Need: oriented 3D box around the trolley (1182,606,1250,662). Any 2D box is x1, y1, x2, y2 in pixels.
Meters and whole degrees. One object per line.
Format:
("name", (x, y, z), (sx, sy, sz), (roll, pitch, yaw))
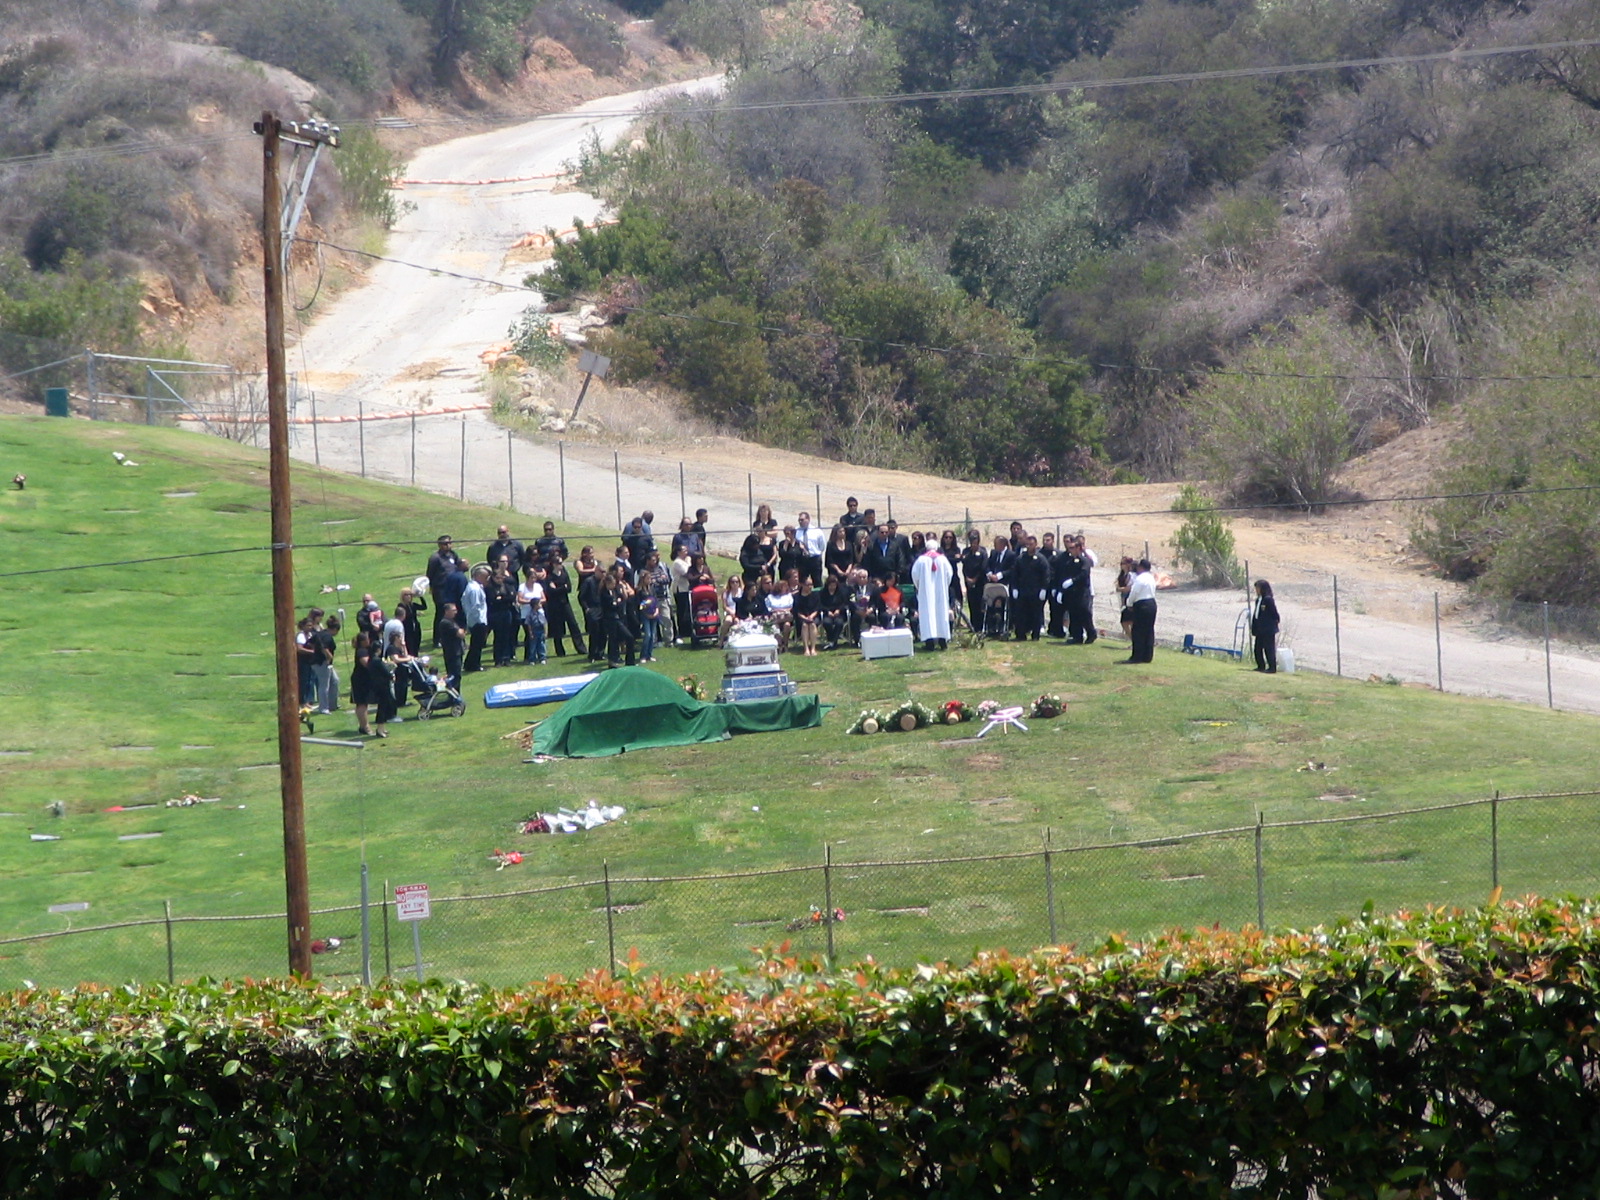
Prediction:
("trolley", (14.121, 0.854, 123.220), (1.581, 2.153, 2.151), (3, -4, -28))
